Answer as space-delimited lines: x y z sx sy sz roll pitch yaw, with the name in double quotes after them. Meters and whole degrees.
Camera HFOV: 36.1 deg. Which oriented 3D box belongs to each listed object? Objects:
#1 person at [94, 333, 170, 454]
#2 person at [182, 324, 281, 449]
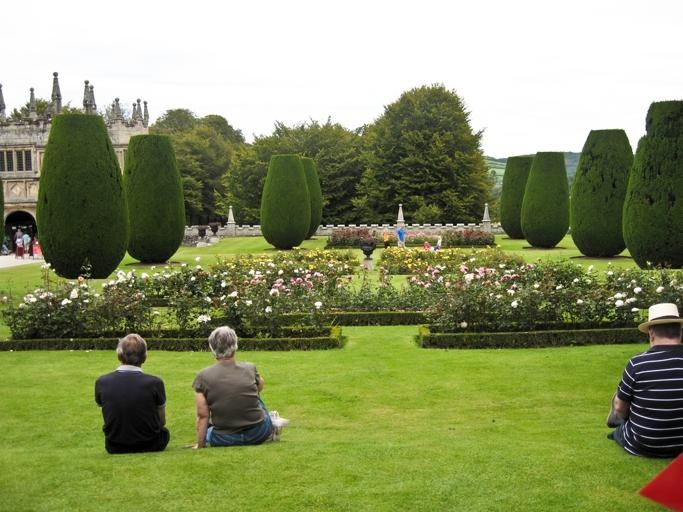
-2.494 1.658 12.556 0.847 1.430 0.274 0 1 -10 "person"
-1.290 1.585 12.758 0.965 1.471 0.289 0 1 -5 "person"
